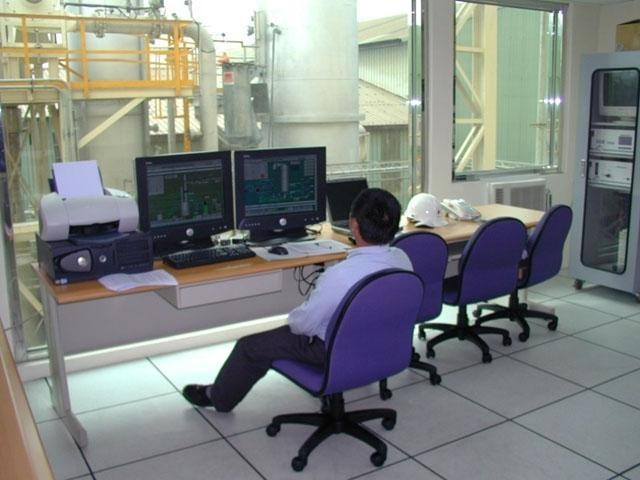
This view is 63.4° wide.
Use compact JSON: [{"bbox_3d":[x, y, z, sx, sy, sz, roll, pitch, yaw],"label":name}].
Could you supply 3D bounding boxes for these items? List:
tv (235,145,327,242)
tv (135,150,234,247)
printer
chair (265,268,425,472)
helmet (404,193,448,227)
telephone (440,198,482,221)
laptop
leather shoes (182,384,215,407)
[{"bbox_3d":[-0.273,-0.323,3.525,0.541,0.538,0.281,-7,15,-29],"label":"tv"},{"bbox_3d":[-0.849,-0.260,3.221,0.498,0.523,0.267,-10,17,-37],"label":"tv"},{"bbox_3d":[-1.263,-0.122,3.098,0.668,0.774,0.609,-11,19,-41],"label":"printer"},{"bbox_3d":[0.140,0.720,2.707,0.727,1.042,0.719,-9,18,-36],"label":"chair"},{"bbox_3d":[0.870,-0.251,4.246,0.249,0.189,0.305,-10,15,-38],"label":"helmet"},{"bbox_3d":[1.186,-0.251,4.443,0.189,0.076,0.272,-9,28,-20],"label":"telephone"},{"bbox_3d":[0.332,-0.333,3.979,0.460,0.397,0.365,-8,17,-39],"label":"laptop"},{"bbox_3d":[-0.743,0.948,3.200,0.257,0.097,0.106,8,-2,11],"label":"leather shoes"}]
